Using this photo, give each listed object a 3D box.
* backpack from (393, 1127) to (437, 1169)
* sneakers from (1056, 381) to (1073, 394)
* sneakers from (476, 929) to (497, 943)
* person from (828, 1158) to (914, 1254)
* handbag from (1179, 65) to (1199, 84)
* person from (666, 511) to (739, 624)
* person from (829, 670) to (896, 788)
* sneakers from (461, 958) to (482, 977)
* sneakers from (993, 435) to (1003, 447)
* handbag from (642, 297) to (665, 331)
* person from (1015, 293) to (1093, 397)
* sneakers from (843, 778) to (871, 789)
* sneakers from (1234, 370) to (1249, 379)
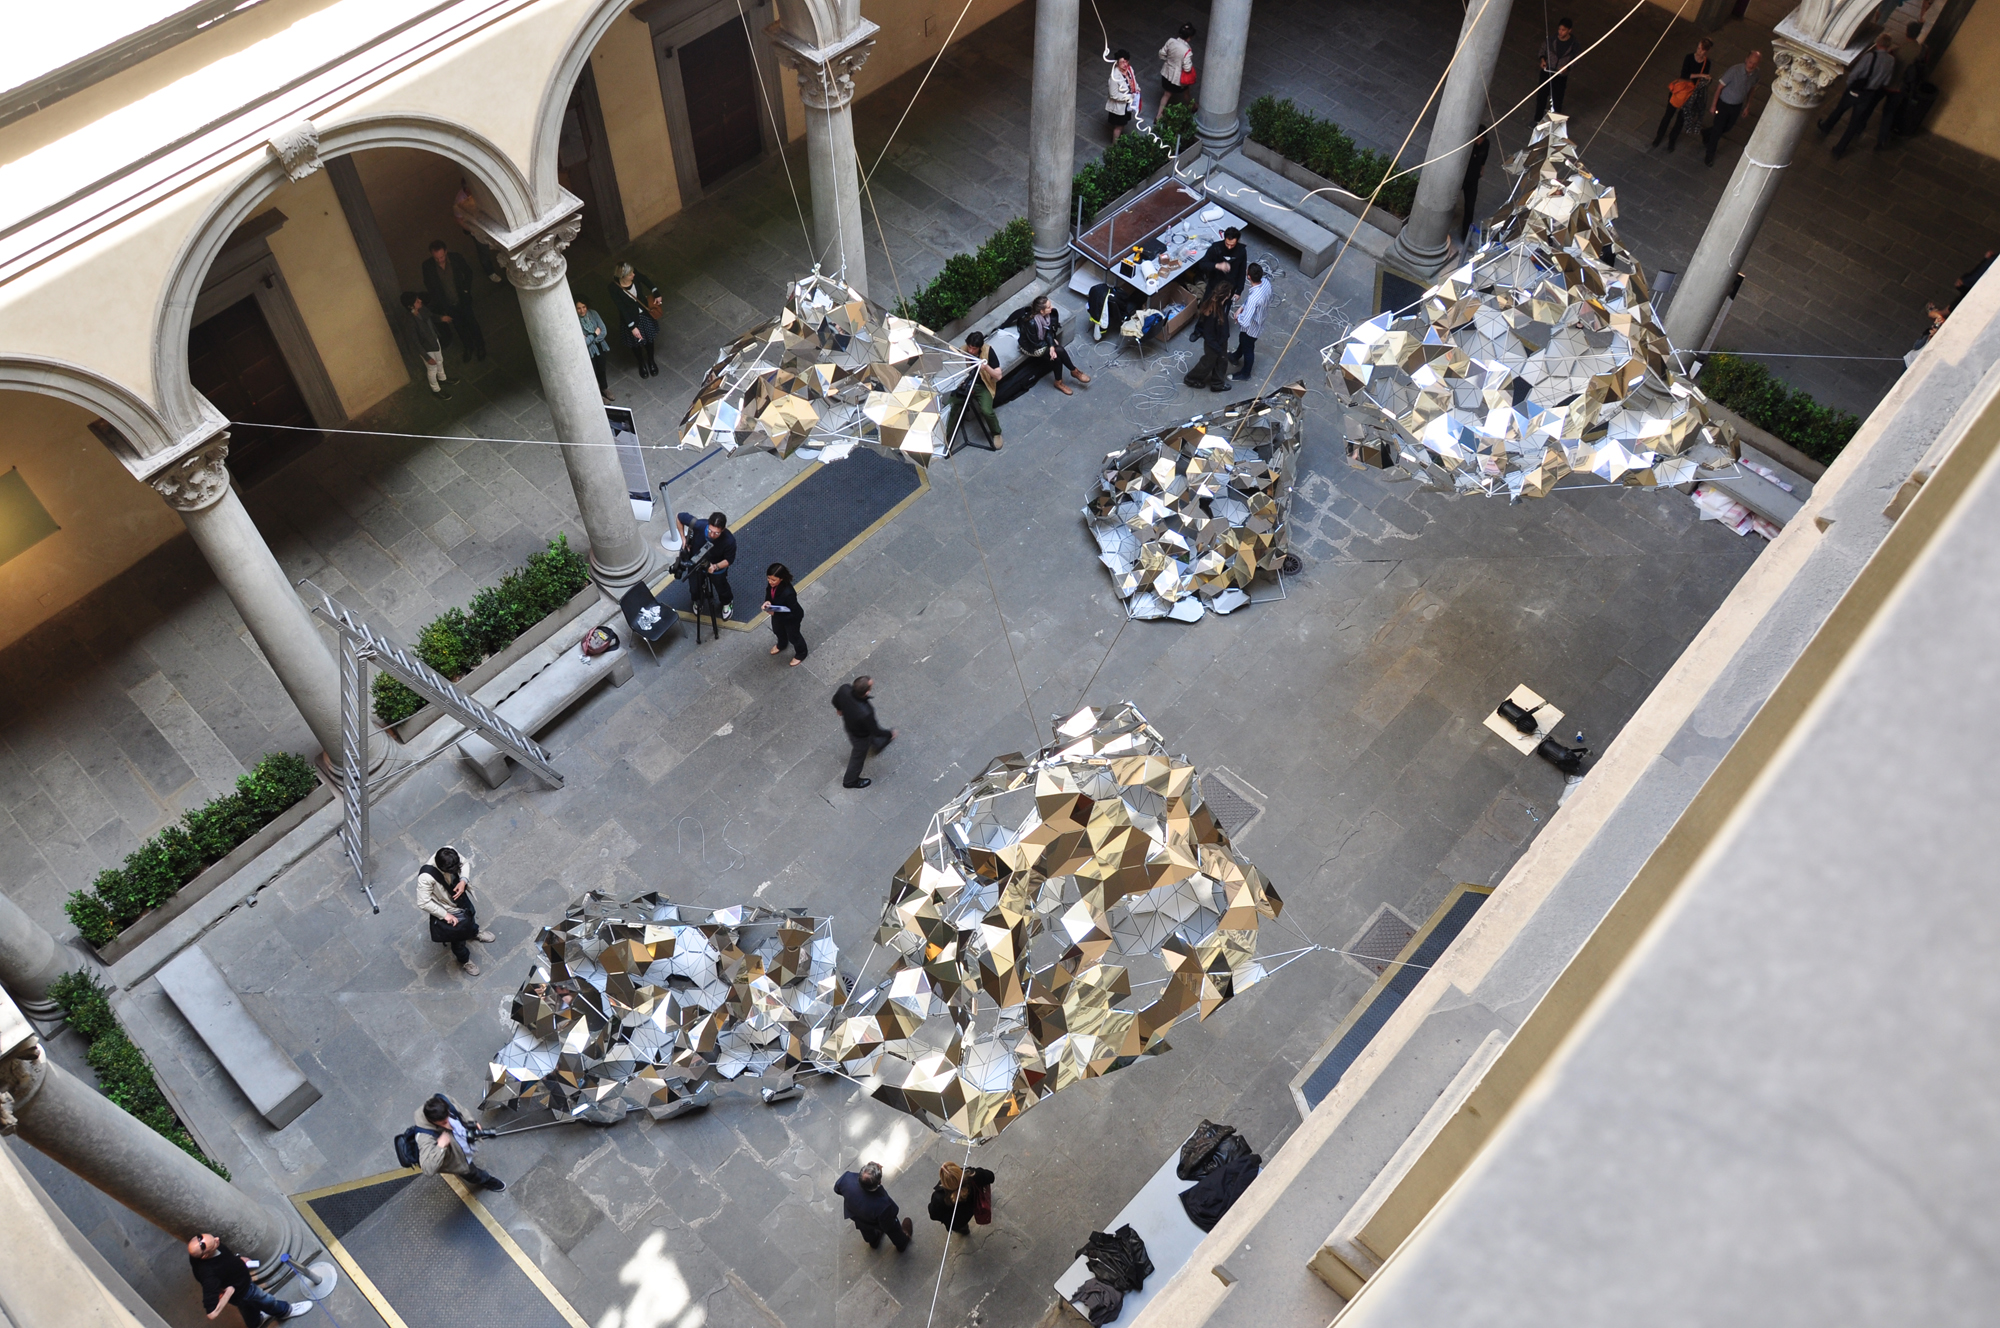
[{"bbox_3d":[-6.605,5.486,17.966,0.284,0.530,0.414,-23,37,9],"label":"backpack"},{"bbox_3d":[1.014,-4.305,24.806,0.267,0.175,0.096,14,100,21],"label":"sneakers"},{"bbox_3d":[-6.471,3.406,19.960,0.201,0.193,0.107,0,83,-34],"label":"sneakers"},{"bbox_3d":[-1.445,6.110,17.755,0.761,1.500,0.507,27,73,13],"label":"person"},{"bbox_3d":[3.281,-10.334,27.881,0.239,0.478,0.328,12,104,0],"label":"handbag"},{"bbox_3d":[-4.235,-1.336,21.995,0.764,1.905,0.783,17,37,-17],"label":"person"},{"bbox_3d":[-1.828,0.940,21.057,0.456,1.223,0.742,39,70,13],"label":"person"},{"bbox_3d":[-6.584,3.799,19.775,0.269,0.108,0.146,15,65,-2],"label":"sneakers"},{"bbox_3d":[-0.038,-3.371,24.168,0.102,0.053,0.191,3,70,-11],"label":"sneakers"},{"bbox_3d":[-5.485,-5.493,24.980,0.208,0.712,0.288,-5,95,-9],"label":"handbag"},{"bbox_3d":[0.826,-4.907,24.837,1.163,1.259,0.622,43,78,14],"label":"person"},{"bbox_3d":[-1.895,1.591,20.988,0.283,0.204,0.127,-5,75,-5],"label":"sneakers"},{"bbox_3d":[3.781,-4.522,24.869,0.191,0.190,0.113,-2,96,8],"label":"sneakers"}]
